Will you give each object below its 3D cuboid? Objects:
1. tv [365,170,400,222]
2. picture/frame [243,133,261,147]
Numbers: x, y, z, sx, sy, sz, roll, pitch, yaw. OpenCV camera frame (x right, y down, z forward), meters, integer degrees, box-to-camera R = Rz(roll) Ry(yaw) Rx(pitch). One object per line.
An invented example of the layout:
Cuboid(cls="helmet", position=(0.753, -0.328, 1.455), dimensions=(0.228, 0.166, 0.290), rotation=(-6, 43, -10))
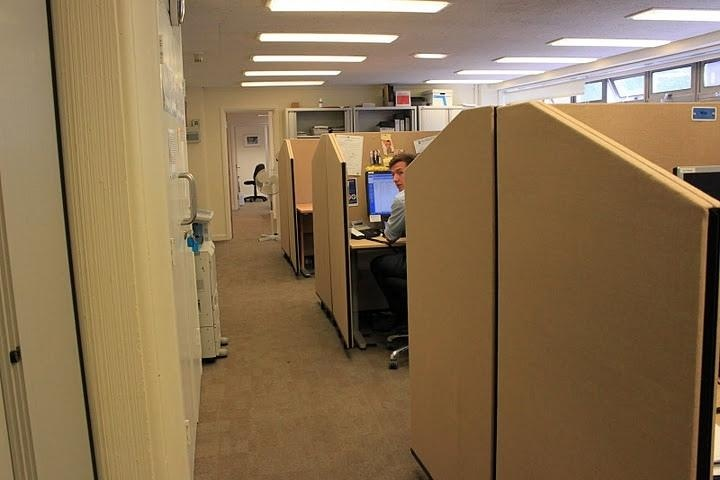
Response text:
Cuboid(cls="tv", position=(0.185, -0.291, 4.744), dimensions=(0.388, 0.467, 0.159), rotation=(-2, 8, -13))
Cuboid(cls="picture/frame", position=(-3.068, -2.451, 16.499), dimensions=(0.355, 0.495, 0.036), rotation=(-6, 27, -13))
